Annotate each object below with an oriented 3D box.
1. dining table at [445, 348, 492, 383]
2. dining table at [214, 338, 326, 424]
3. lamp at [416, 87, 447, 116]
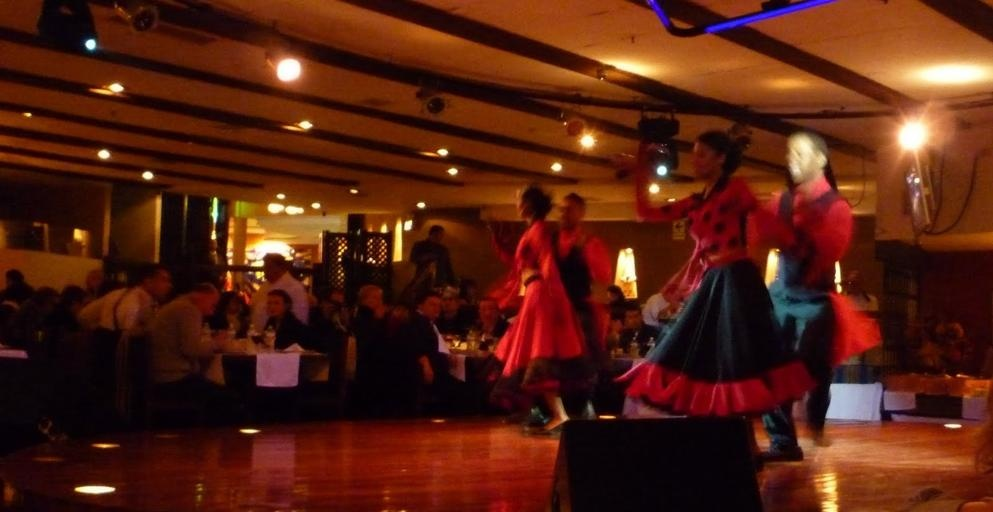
[{"bbox_3d":[-0.354,1.349,9.379,0.542,0.223,0.696,1,-2,-2],"label":"dining table"},{"bbox_3d":[-2.525,1.476,8.985,1.157,0.593,1.069,1,-1,8],"label":"dining table"},{"bbox_3d":[-0.886,-2.182,10.291,0.343,0.318,0.350,0,1,-7],"label":"lamp"}]
